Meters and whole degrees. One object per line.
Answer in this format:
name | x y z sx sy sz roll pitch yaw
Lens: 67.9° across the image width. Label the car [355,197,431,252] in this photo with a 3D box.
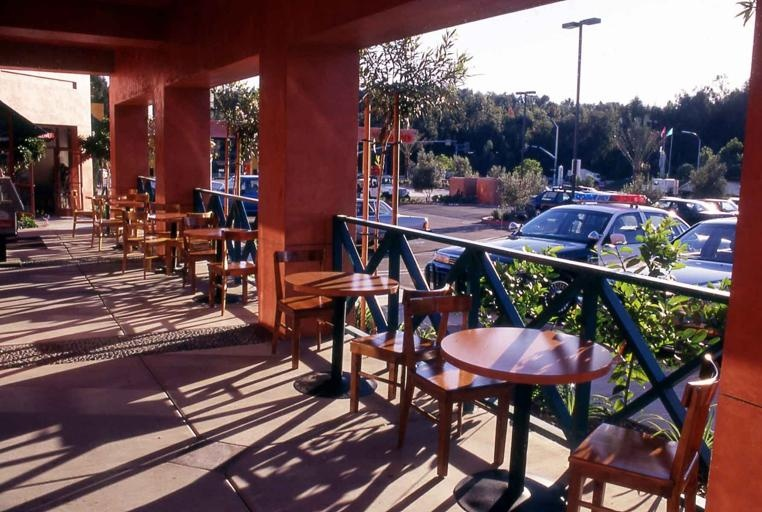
car | 0.225 -1.039 15.927 2.089 0.856 1.222 -3 13 -9
